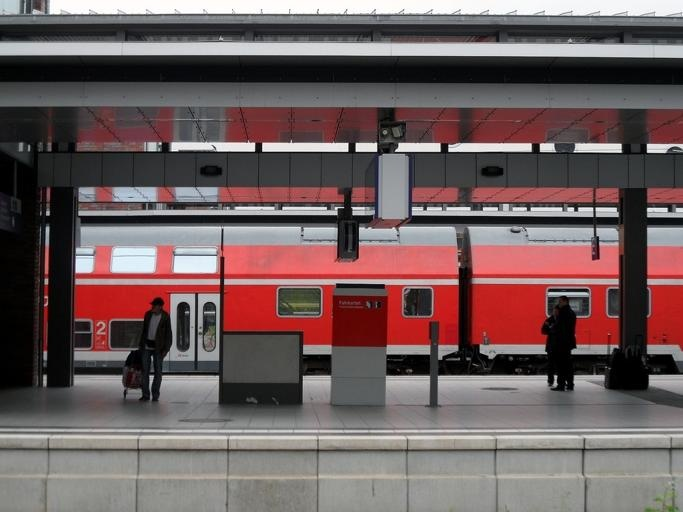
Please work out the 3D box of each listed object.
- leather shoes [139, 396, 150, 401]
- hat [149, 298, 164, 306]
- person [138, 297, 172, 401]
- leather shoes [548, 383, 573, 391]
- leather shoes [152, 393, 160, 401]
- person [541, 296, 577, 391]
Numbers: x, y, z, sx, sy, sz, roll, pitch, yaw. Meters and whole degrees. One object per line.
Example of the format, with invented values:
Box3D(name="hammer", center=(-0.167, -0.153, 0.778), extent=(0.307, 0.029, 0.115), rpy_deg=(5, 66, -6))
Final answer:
Box3D(name="leather shoes", center=(-3.801, 2.750, 23.813), extent=(0.192, 0.089, 0.222), rpy_deg=(1, -6, -9))
Box3D(name="hat", center=(-3.599, 0.908, 24.124), extent=(0.222, 0.117, 0.155), rpy_deg=(4, -3, 10))
Box3D(name="person", center=(-3.637, 1.815, 24.136), extent=(0.621, 1.992, 0.616), rpy_deg=(1, -6, -8))
Box3D(name="leather shoes", center=(4.550, 2.711, 25.473), extent=(0.527, 0.214, 0.159), rpy_deg=(2, 2, 23))
Box3D(name="leather shoes", center=(-3.599, 2.720, 23.890), extent=(0.129, 0.140, 0.229), rpy_deg=(1, -6, -9))
Box3D(name="person", center=(4.588, 1.815, 25.633), extent=(0.449, 1.936, 0.733), rpy_deg=(4, -7, -34))
